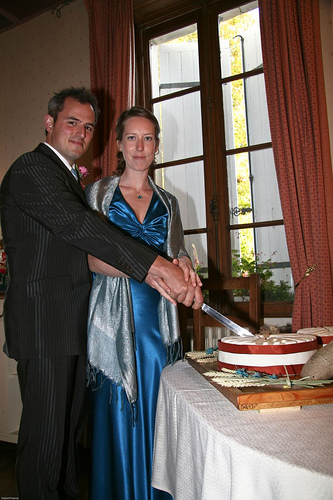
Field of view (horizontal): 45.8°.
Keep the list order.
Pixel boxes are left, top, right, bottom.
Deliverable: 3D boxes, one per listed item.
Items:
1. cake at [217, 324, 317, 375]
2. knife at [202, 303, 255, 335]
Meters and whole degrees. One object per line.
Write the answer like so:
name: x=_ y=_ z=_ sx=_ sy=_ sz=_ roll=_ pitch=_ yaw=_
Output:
cake: x=0.173 y=0.161 z=0.730 sx=0.108 sy=0.054 sz=0.110 roll=0 pitch=-7 yaw=-12
knife: x=0.154 y=0.176 z=1.010 sx=0.099 sy=0.099 sz=0.307 roll=-4 pitch=-4 yaw=8
